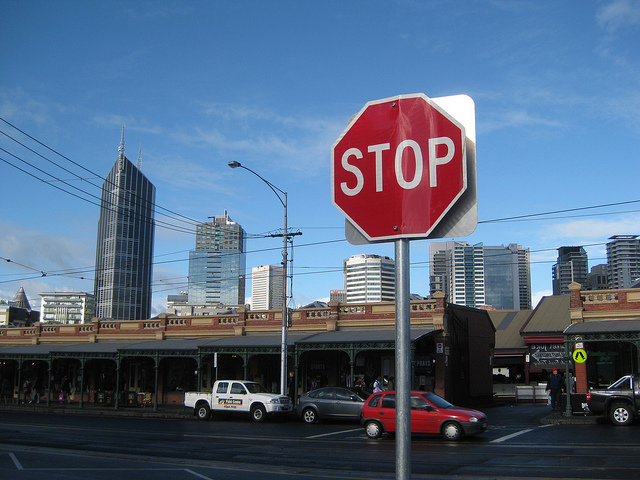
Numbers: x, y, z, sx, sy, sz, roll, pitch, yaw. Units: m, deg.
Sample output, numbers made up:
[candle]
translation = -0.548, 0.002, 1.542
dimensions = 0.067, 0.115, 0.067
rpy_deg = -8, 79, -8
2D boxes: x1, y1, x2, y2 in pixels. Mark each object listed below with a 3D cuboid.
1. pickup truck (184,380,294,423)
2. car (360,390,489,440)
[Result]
[pickup truck]
translation = -4.277, 8.547, 38.557
dimensions = 5.709, 1.907, 2.560
rpy_deg = -5, -11, 26
[car]
translation = 4.311, 7.108, 29.667
dimensions = 4.884, 1.831, 2.590
rpy_deg = -5, -11, 24
